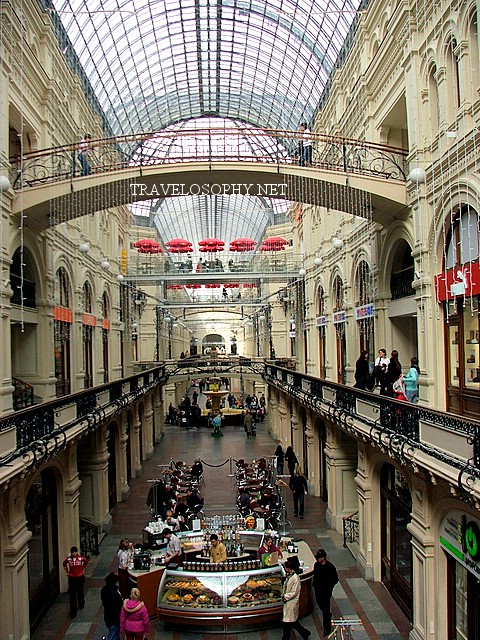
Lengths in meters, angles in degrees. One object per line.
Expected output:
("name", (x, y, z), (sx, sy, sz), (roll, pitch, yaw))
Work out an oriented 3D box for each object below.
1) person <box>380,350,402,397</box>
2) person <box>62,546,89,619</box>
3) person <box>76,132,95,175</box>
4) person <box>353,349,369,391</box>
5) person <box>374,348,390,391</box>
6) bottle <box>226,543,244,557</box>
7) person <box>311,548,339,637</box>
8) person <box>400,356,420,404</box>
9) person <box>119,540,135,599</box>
("person", (3.202, 1.149, 9.756), (0.398, 0.988, 1.121), (-2, -3, 17))
("person", (-3.493, 5.270, 9.675), (0.432, 1.600, 1.707), (0, -3, -20))
("person", (-4.938, -5.371, 14.948), (0.501, 0.501, 1.701), (-30, -19, -31))
("person", (3.096, 1.269, 11.633), (0.324, 0.940, 1.249), (-2, -2, 14))
("person", (3.243, 1.179, 10.422), (0.254, 1.053, 0.318), (-18, 21, -28))
("bottle", (-0.122, 4.935, 9.907), (0.222, 0.250, 0.240), (0, 4, -3))
("person", (1.493, 4.725, 7.987), (0.354, 1.467, 0.408), (-1, -3, -10))
("person", (3.590, 1.294, 9.645), (0.315, 0.962, 1.382), (-2, -2, 20))
("person", (-2.314, 5.051, 9.340), (0.312, 1.201, 0.312), (-2, 4, -32))
